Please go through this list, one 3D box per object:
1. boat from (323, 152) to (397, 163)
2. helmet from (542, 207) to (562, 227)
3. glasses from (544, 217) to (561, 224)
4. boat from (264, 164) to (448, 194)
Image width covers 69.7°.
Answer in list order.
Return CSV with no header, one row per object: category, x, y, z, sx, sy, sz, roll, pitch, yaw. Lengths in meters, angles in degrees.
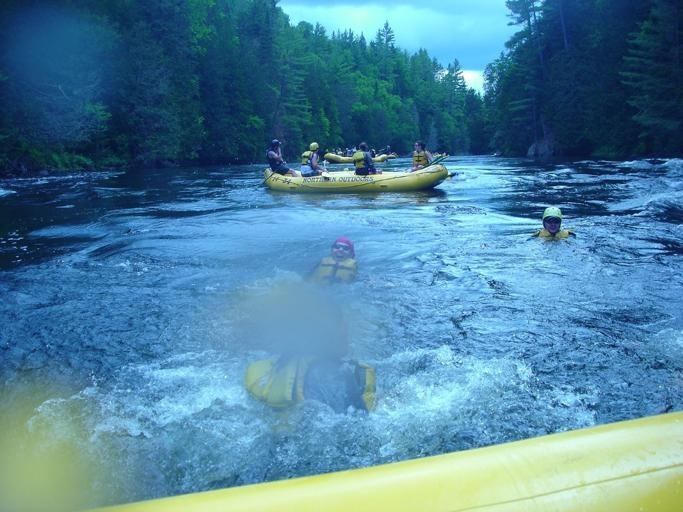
boat,0.382,-3.416,16.876,1.155,0.308,2.153,-8,10,-42
helmet,3.330,-0.646,7.802,0.317,0.276,0.397,2,-24,20
glasses,3.284,-0.559,7.615,0.242,0.103,0.113,0,13,17
boat,0.426,-2.318,15.444,4.084,0.547,1.917,0,5,15
